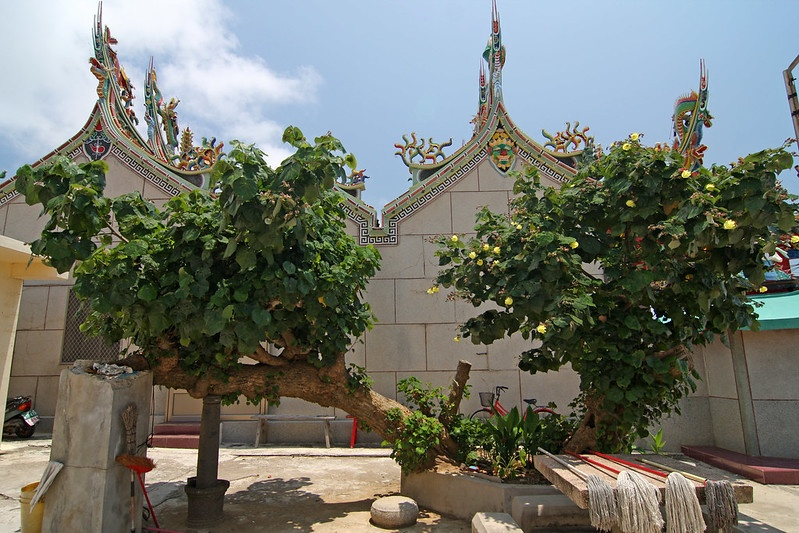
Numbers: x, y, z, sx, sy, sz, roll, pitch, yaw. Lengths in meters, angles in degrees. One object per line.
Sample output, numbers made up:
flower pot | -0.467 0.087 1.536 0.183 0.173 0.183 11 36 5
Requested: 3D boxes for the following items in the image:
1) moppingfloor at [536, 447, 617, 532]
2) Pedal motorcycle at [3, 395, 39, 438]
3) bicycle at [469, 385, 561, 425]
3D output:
moppingfloor | 2.168 2.676 6.346 0.336 0.397 1.209 19 -11 -18
Pedal motorcycle | -8.883 3.507 12.098 0.682 0.946 0.342 2 -3 -7
bicycle | 2.452 3.036 11.510 1.633 0.714 0.661 1 -3 3
